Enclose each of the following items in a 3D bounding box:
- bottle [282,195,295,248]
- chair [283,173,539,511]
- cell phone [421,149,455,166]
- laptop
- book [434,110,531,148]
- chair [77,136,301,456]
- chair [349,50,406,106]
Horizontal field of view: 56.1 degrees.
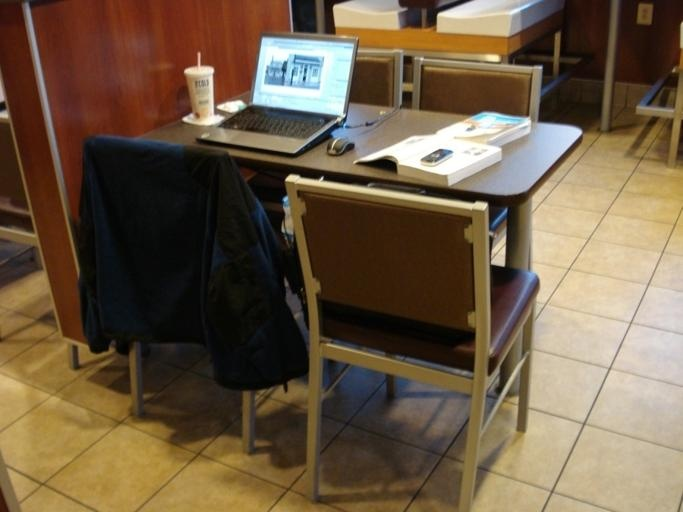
[{"bbox_3d":[-0.203,-0.118,2.292,0.038,0.166,0.113,2,13,9],"label":"bottle"},{"bbox_3d":[0.229,0.298,2.094,0.658,1.245,0.739,10,33,24],"label":"chair"},{"bbox_3d":[0.325,-0.347,2.203,0.056,0.027,0.111,17,40,40],"label":"cell phone"},{"bbox_3d":[-0.221,-0.649,2.603,0.580,0.398,0.586,17,41,25],"label":"laptop"},{"bbox_3d":[0.569,-0.494,2.435,0.216,0.055,0.218,-31,36,-35],"label":"book"},{"bbox_3d":[-0.571,0.063,2.547,0.848,1.160,0.778,8,24,6],"label":"chair"},{"bbox_3d":[0.197,-0.871,3.115,0.271,0.245,0.300,9,31,20],"label":"chair"}]
